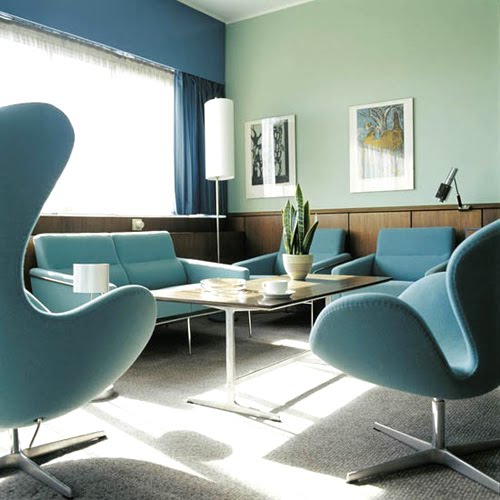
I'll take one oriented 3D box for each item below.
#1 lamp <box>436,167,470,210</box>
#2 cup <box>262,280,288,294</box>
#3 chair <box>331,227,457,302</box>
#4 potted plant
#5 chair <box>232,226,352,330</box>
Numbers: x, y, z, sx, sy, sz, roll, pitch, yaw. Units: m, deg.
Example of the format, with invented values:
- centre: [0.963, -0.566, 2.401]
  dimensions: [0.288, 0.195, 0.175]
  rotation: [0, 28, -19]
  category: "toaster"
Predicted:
- centre: [1.704, -0.521, 3.761]
  dimensions: [0.241, 0.377, 0.487]
  rotation: [0, 2, 27]
  category: "lamp"
- centre: [0.103, 0.154, 1.886]
  dimensions: [0.069, 0.035, 0.056]
  rotation: [-3, -1, 24]
  category: "cup"
- centre: [1.146, 0.015, 3.568]
  dimensions: [0.697, 0.875, 0.803]
  rotation: [-2, -4, 34]
  category: "chair"
- centre: [0.298, -0.098, 2.695]
  dimensions: [0.216, 0.564, 0.212]
  rotation: [0, 3, 26]
  category: "potted plant"
- centre: [0.402, 0.241, 4.096]
  dimensions: [0.803, 0.906, 0.825]
  rotation: [4, 1, 37]
  category: "chair"
